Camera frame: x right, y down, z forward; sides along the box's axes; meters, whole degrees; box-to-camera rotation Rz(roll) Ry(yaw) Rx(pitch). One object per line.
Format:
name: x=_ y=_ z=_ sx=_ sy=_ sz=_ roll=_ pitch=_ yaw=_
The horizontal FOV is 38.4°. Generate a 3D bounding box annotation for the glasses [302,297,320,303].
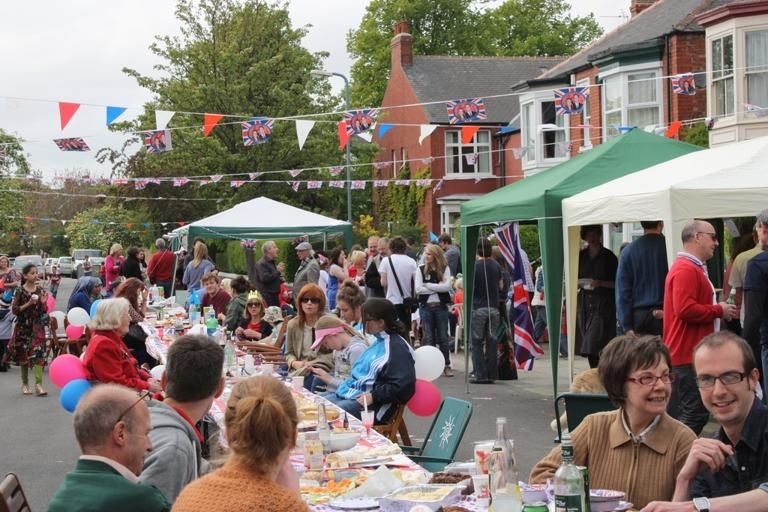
glasses: x=-1.094 y=0.656 z=16.475 sx=0.256 sy=0.087 sz=0.045 roll=-2 pitch=2 yaw=-5

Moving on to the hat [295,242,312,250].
hat: x=-1.610 y=-0.183 z=22.368 sx=0.253 sy=0.142 sz=0.194 roll=18 pitch=-1 yaw=-6

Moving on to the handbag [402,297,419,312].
handbag: x=0.477 y=0.906 z=20.979 sx=0.281 sy=0.280 sz=0.258 roll=16 pitch=-10 yaw=-41

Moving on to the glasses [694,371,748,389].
glasses: x=3.703 y=1.370 z=12.202 sx=0.510 sy=0.191 sz=0.095 roll=-1 pitch=2 yaw=13

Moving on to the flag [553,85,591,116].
flag: x=4.405 y=-3.716 z=26.226 sx=0.748 sy=0.619 sz=0.754 roll=-1 pitch=1 yaw=8

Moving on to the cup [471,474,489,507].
cup: x=1.059 y=2.594 z=12.161 sx=0.161 sy=0.339 sz=0.212 roll=-1 pitch=2 yaw=-5

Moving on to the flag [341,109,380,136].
flag: x=-0.621 y=-3.324 z=26.936 sx=0.752 sy=0.721 sz=2.129 roll=-1 pitch=1 yaw=-2

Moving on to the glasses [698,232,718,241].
glasses: x=4.444 y=-0.264 z=15.270 sx=0.300 sy=0.120 sz=0.113 roll=-2 pitch=1 yaw=-34

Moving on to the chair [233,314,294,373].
chair: x=-1.905 y=1.373 z=17.131 sx=0.759 sy=1.147 sz=0.798 roll=1 pitch=-6 yaw=-4

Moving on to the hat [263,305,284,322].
hat: x=-1.863 y=0.984 z=18.770 sx=0.254 sy=0.170 sz=0.279 roll=2 pitch=-1 yaw=28

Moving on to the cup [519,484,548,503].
cup: x=1.632 y=2.612 z=12.147 sx=0.302 sy=0.174 sz=0.374 roll=-1 pitch=1 yaw=4

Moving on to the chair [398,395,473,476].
chair: x=0.727 y=2.258 z=13.968 sx=0.865 sy=1.228 sz=0.735 roll=2 pitch=3 yaw=-33

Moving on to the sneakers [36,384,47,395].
sneakers: x=-6.198 y=2.456 z=20.123 sx=0.127 sy=0.203 sz=0.393 roll=-1 pitch=-10 yaw=-29
